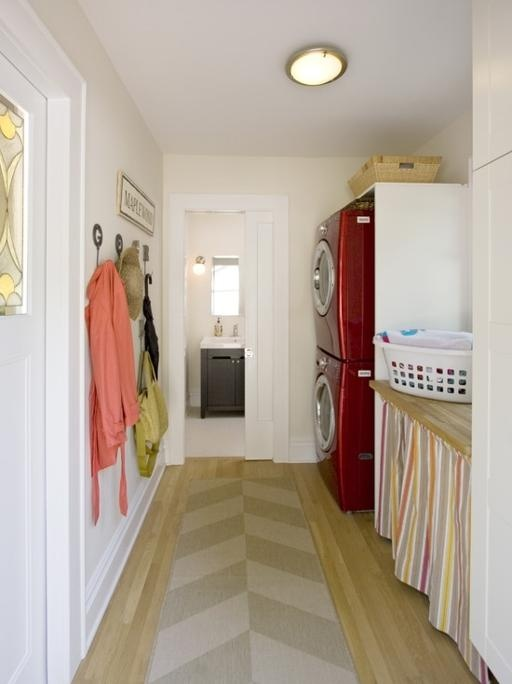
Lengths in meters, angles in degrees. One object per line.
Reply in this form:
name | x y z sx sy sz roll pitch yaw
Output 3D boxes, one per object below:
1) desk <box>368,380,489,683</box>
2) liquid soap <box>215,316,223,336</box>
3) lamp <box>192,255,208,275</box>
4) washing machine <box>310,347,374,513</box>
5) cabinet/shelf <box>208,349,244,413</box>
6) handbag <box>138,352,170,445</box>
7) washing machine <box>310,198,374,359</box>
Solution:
desk | 0.611 0.672 1.580 0.227 0.658 0.718 0 5 4
liquid soap | -0.417 -0.183 5.062 0.091 0.225 0.056 -1 3 -9
lamp | -0.618 -0.866 4.955 0.139 0.278 0.162 -1 10 -22
washing machine | 0.454 0.432 2.998 0.443 1.289 0.881 0 1 3
cabinet/shelf | -0.294 0.400 4.730 0.415 0.929 0.456 0 -3 -2
handbag | -0.587 0.339 2.565 0.140 0.578 0.388 -1 4 -8
washing machine | 0.513 -0.376 2.617 0.265 0.926 0.602 0 4 3
